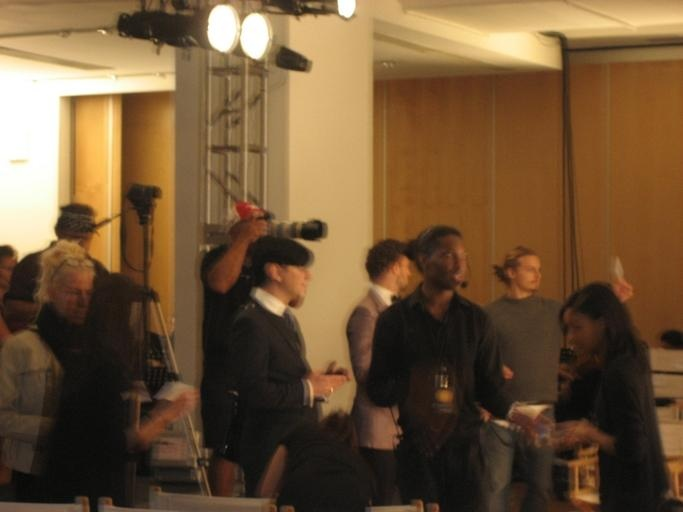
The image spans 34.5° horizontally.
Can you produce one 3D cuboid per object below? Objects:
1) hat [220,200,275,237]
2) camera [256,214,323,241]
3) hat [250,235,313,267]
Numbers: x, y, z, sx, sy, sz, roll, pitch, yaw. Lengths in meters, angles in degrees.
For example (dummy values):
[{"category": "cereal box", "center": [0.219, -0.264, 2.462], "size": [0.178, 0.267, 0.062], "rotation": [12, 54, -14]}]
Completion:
[{"category": "hat", "center": [-0.592, -0.261, 7.158], "size": [0.400, 0.157, 0.307], "rotation": [-11, -5, 31]}, {"category": "camera", "center": [-0.326, -0.182, 6.905], "size": [0.418, 0.157, 0.129], "rotation": [-1, -3, 30]}, {"category": "hat", "center": [-0.400, 0.000, 7.085], "size": [0.270, 0.110, 0.211], "rotation": [12, -4, 1]}]
